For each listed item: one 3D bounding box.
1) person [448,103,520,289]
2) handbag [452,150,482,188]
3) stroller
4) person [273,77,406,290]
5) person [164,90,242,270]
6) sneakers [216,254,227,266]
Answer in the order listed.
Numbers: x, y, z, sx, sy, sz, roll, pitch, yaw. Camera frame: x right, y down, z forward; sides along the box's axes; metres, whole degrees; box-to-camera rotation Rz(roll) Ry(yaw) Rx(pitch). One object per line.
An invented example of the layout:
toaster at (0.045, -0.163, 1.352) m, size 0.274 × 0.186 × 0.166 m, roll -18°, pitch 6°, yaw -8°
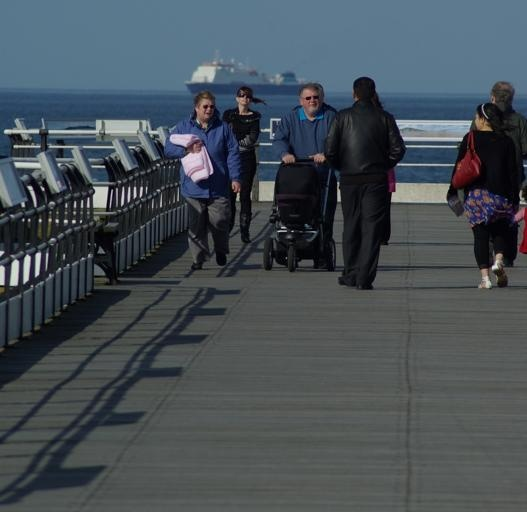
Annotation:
person at (1.634, -0.454, 11.474) m, size 0.521 × 1.396 × 0.601 m, roll 1°, pitch 8°, yaw 7°
handbag at (1.489, -0.637, 11.243) m, size 0.117 × 0.228 × 0.210 m, roll 16°, pitch 1°, yaw -34°
stroller at (0.307, -0.342, 12.281) m, size 0.458 × 0.882 × 0.893 m, roll 1°, pitch 6°, yaw 13°
person at (0.747, -0.526, 11.291) m, size 0.347 × 1.561 × 0.561 m, roll -7°, pitch 10°, yaw -43°
person at (-0.469, -0.608, 12.452) m, size 0.596 × 1.481 × 0.790 m, roll 1°, pitch 8°, yaw 7°
sneakers at (-0.340, 0.024, 12.771) m, size 0.082 × 0.121 × 0.288 m, roll 1°, pitch 2°, yaw 3°
